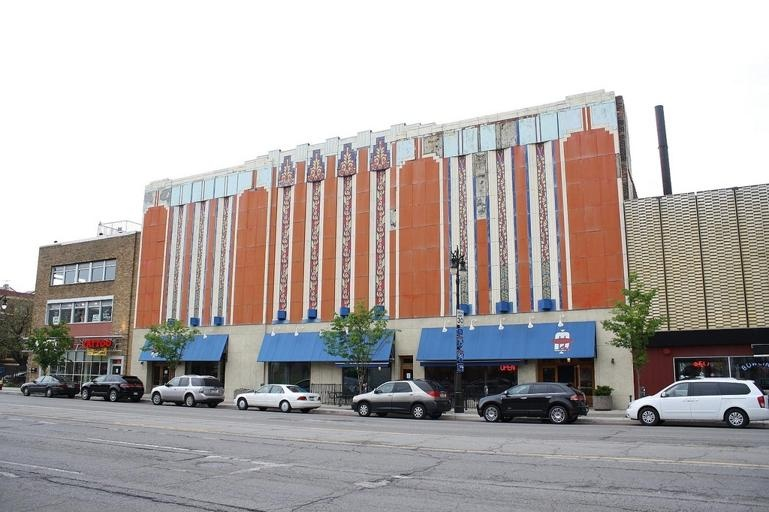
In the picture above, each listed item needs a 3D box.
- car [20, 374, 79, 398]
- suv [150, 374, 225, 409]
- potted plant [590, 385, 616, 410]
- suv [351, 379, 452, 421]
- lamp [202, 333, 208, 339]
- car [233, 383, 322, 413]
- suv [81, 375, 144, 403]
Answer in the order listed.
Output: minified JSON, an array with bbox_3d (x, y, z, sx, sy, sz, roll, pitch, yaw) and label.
[{"bbox_3d":[-23.659,9.224,48.510,4.331,1.621,1.434,-7,-14,23],"label":"car"},{"bbox_3d":[-11.820,8.284,41.771,4.888,1.854,2.067,-4,-8,32],"label":"suv"},{"bbox_3d":[12.291,7.987,38.634,1.315,1.551,1.228,-5,-8,43],"label":"potted plant"},{"bbox_3d":[0.818,7.361,35.249,4.485,1.885,0.925,-5,-14,17],"label":"suv"},{"bbox_3d":[-13.446,6.016,51.312,0.343,0.490,0.241,2,-9,-1],"label":"lamp"},{"bbox_3d":[-6.058,8.139,39.211,4.641,1.638,1.939,-8,-15,28],"label":"car"},{"bbox_3d":[-17.822,8.619,44.768,3.690,1.743,1.235,-6,-14,20],"label":"suv"}]
